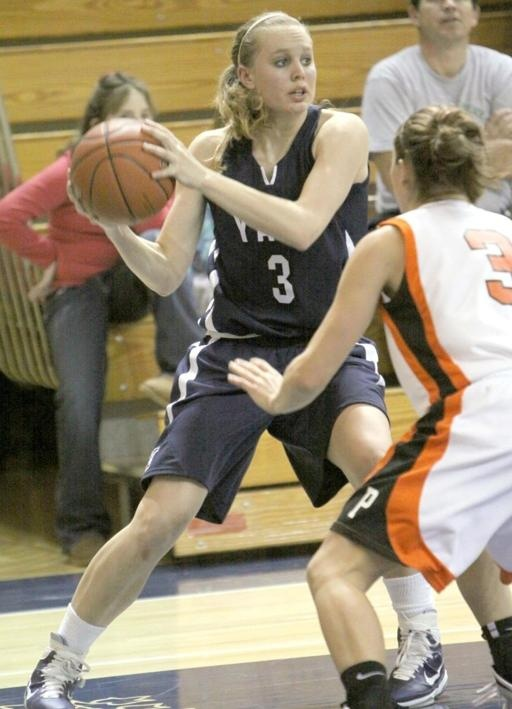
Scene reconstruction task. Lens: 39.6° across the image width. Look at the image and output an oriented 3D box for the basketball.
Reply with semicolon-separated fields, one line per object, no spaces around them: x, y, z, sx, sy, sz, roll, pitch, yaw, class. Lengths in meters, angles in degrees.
-0.204;-0.277;1.184;0.179;0.179;0.171;5;0;41;basketball
